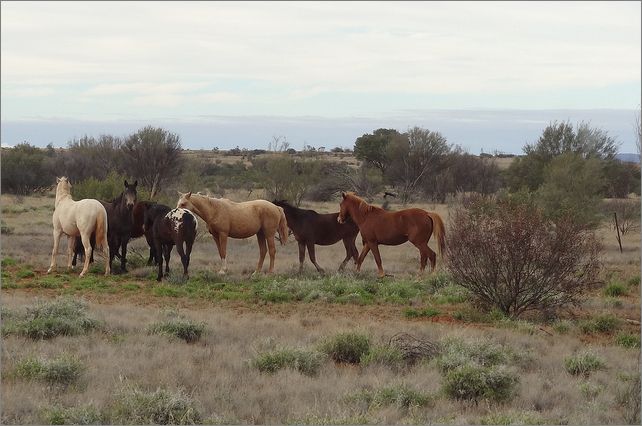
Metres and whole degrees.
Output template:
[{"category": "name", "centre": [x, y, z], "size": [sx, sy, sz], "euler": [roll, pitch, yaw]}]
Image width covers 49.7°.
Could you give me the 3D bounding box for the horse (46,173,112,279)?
[{"category": "horse", "centre": [-8.789, 0.459, 24.539], "size": [3.590, 3.511, 1.087], "euler": [3, 2, 43]}]

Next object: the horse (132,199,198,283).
[{"category": "horse", "centre": [-5.278, 0.887, 23.871], "size": [0.846, 2.714, 3.183], "euler": [-1, -2, -43]}]
